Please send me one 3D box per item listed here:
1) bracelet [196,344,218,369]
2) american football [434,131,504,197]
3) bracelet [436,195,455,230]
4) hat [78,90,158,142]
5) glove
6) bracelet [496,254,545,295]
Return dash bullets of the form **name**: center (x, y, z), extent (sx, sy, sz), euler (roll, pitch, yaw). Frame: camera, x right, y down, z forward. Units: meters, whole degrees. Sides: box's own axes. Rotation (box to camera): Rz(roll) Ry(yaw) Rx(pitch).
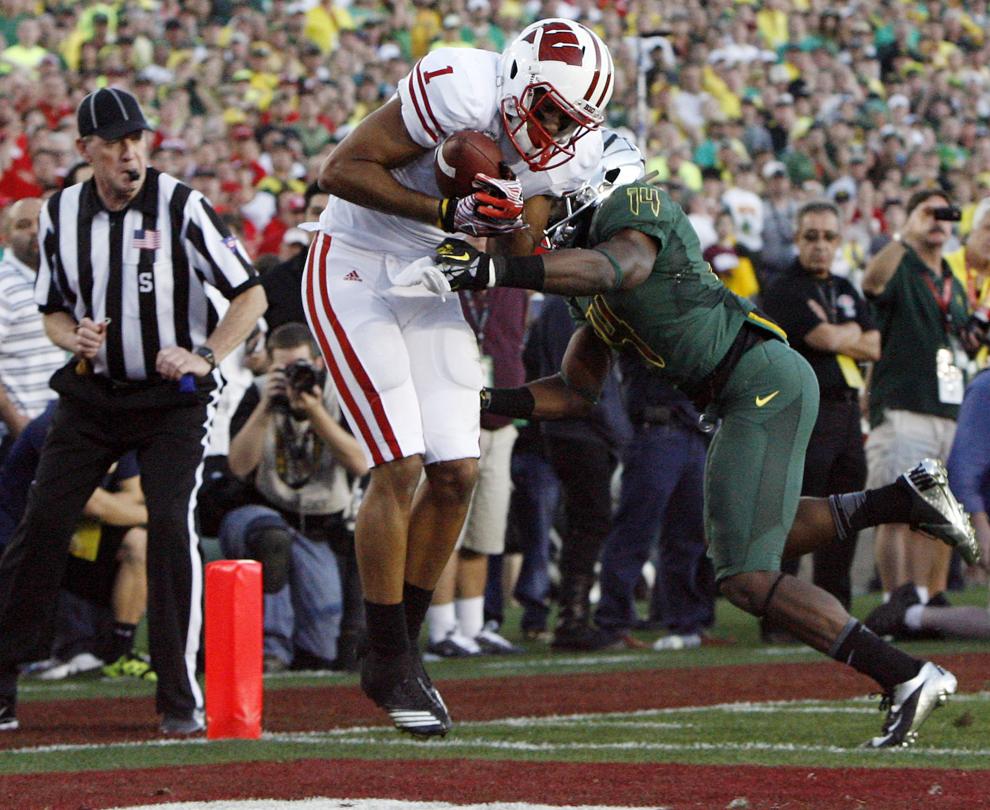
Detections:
- **bracelet**: center (-1.071, -0.174, 6.375), extent (0.066, 0.045, 0.086), euler (14, -27, 42)
- **american football**: center (-0.101, -0.796, 5.715), extent (0.192, 0.200, 0.245), euler (4, 1, -15)
- **bracelet**: center (-0.159, -0.643, 5.749), extent (0.088, 0.095, 0.074), euler (5, 16, 1)
- **hat**: center (-1.404, -1.072, 6.369), extent (0.188, 0.141, 0.250), euler (-19, 15, -40)
- **glove**: center (-0.057, -0.571, 5.656), extent (0.267, 0.403, 0.165), euler (37, -3, -32)
- **bracelet**: center (0.085, -0.445, 5.711), extent (0.176, 0.102, 0.186), euler (4, 2, -1)
